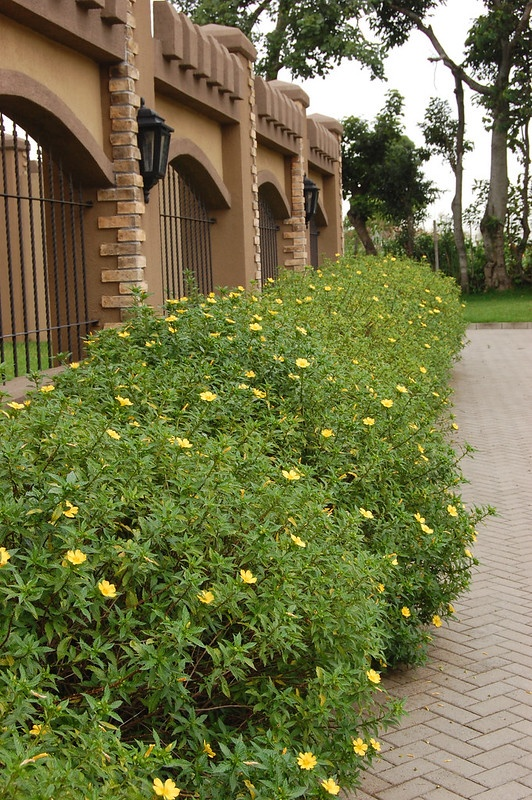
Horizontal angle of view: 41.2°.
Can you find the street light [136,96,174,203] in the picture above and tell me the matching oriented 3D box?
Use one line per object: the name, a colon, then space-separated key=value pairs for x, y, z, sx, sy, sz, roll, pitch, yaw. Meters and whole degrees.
street light: x=-1.046 y=-2.252 z=6.507 sx=0.348 sy=0.802 sz=0.322 roll=-2 pitch=7 yaw=18
